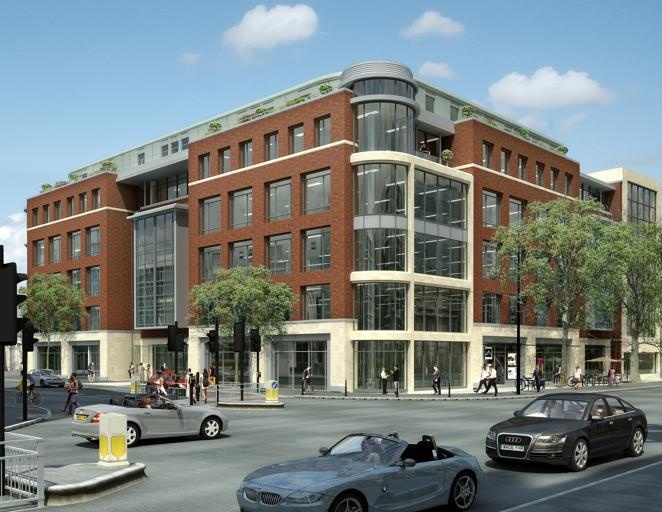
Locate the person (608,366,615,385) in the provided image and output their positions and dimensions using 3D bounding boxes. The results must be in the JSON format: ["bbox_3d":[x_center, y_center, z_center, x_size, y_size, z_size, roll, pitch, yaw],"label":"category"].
[{"bbox_3d":[22.564,9.659,69.420,0.643,1.254,2.490,-5,-12,17],"label":"person"}]

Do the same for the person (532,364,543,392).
[{"bbox_3d":[13.772,8.148,57.076,0.494,1.533,2.276,-5,-11,13],"label":"person"}]

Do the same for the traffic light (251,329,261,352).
[{"bbox_3d":[-3.571,4.002,41.832,0.399,1.115,0.734,-2,-11,0],"label":"traffic light"}]

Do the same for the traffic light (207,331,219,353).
[{"bbox_3d":[-5.648,4.108,42.043,0.416,1.135,0.972,1,-11,-18],"label":"traffic light"}]

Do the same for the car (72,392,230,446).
[{"bbox_3d":[-5.749,5.326,28.498,4.218,1.357,2.012,1,-5,-33],"label":"car"}]

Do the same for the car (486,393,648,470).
[{"bbox_3d":[6.796,4.837,24.016,4.272,1.369,1.936,9,-15,-41],"label":"car"}]
